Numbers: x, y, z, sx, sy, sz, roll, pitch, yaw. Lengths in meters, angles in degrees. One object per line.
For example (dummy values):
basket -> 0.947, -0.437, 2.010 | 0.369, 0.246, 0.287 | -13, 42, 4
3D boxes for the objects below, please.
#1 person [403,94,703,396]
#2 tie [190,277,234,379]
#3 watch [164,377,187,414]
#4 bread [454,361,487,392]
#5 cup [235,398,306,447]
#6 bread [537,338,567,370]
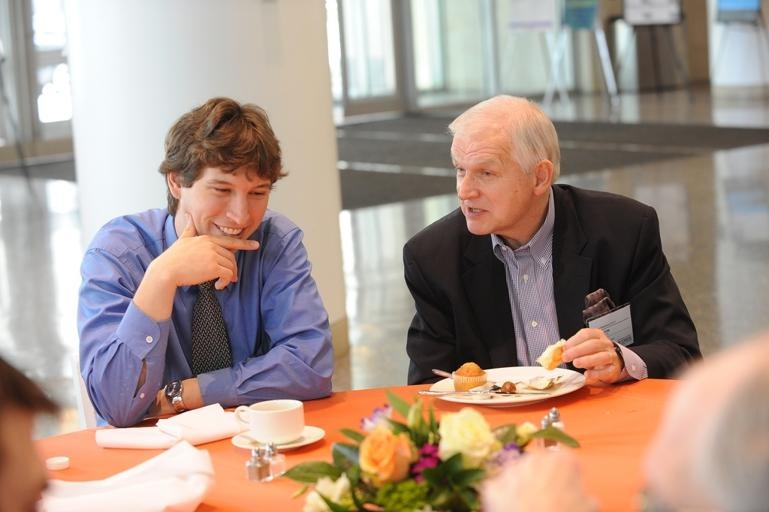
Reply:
person -> 0.549, -0.092, 2.258 | 0.981, 1.003, 0.473 | -4, 4, 12
tie -> -0.574, 0.230, 2.057 | 0.119, 0.286, 0.103 | -6, 4, -18
watch -> -0.609, 0.414, 1.901 | 0.061, 0.081, 0.083 | -15, 31, -5
bread -> 0.248, 0.340, 1.812 | 0.075, 0.067, 0.075 | -3, 1, -41
cup -> -0.281, 0.407, 1.560 | 0.126, 0.066, 0.095 | -3, 1, 22
bread -> 0.459, 0.284, 1.761 | 0.092, 0.034, 0.067 | -28, 13, -14
